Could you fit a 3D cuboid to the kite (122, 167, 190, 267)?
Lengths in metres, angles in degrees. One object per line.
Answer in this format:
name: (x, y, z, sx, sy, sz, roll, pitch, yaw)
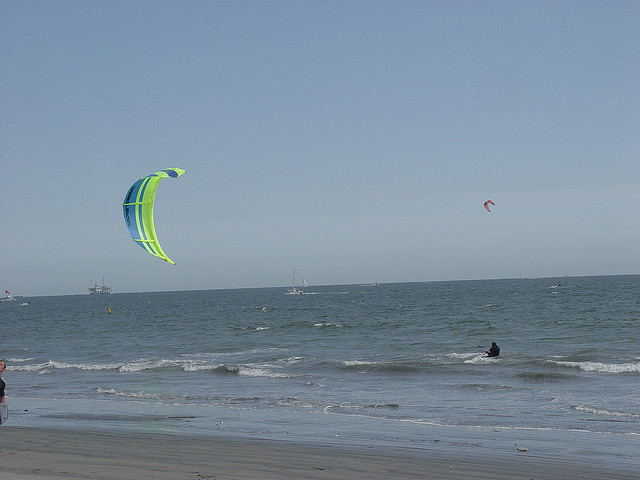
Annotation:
kite: (-4.670, -0.677, 23.059, 1.193, 2.435, 0.502, -5, -10, 24)
